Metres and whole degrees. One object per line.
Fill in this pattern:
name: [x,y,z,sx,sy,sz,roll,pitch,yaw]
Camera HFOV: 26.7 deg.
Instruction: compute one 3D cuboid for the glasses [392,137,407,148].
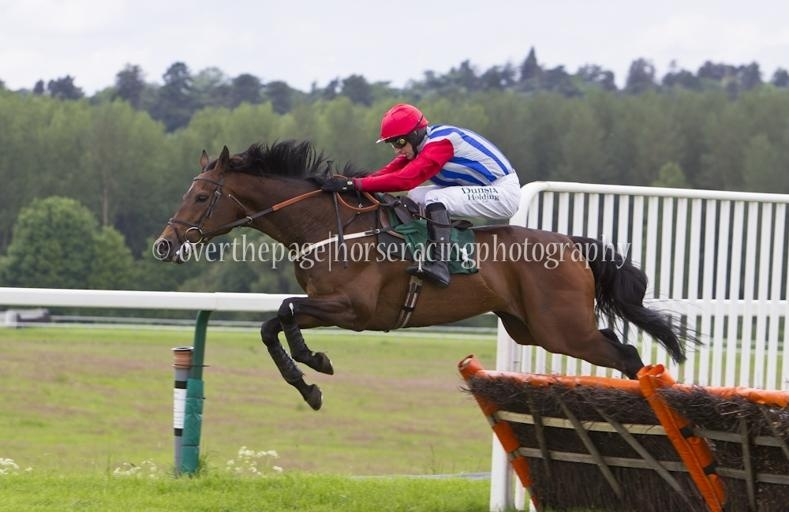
glasses: [0.101,-2.194,31.925,0.224,0.128,0.253,-6,35,19]
